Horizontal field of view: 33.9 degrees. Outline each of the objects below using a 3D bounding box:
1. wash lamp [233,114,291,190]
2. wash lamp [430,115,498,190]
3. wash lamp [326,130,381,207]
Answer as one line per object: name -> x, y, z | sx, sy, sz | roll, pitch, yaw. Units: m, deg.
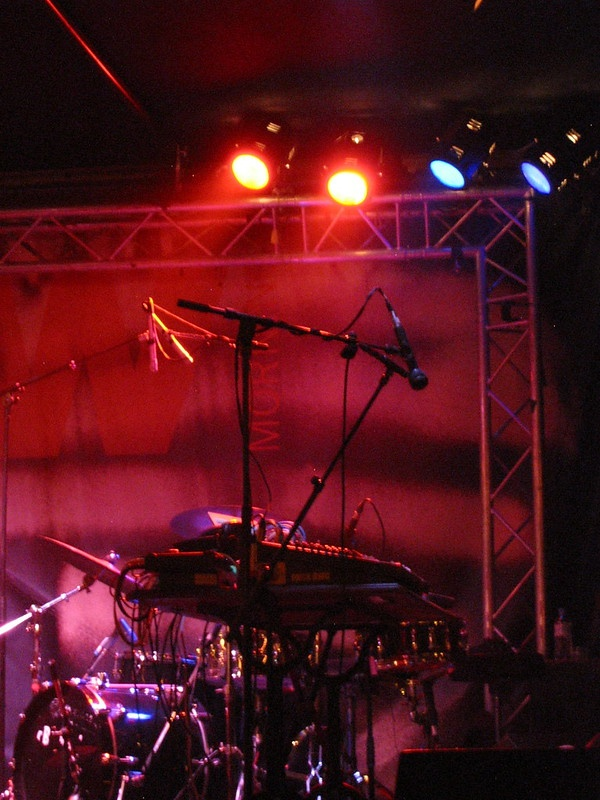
wash lamp -> -0.226, -1.455, 5.794 | 0.355, 0.337, 0.427 | 4, -27, -7
wash lamp -> 0.943, -1.423, 5.636 | 0.273, 0.283, 0.273 | 32, -29, 8
wash lamp -> 0.312, -1.357, 5.746 | 0.362, 0.161, 0.429 | -5, -70, -9
